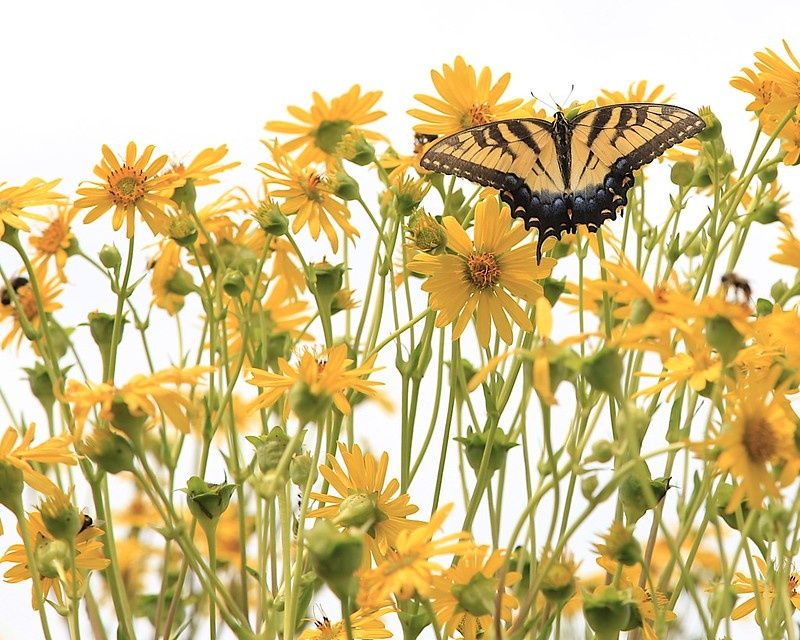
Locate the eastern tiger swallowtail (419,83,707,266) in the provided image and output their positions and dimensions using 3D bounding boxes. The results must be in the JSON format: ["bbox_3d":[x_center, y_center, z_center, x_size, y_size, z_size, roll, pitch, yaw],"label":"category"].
[{"bbox_3d":[0.194,-0.190,1.731,0.215,0.179,0.055,-5,13,5],"label":"eastern tiger swallowtail"}]
